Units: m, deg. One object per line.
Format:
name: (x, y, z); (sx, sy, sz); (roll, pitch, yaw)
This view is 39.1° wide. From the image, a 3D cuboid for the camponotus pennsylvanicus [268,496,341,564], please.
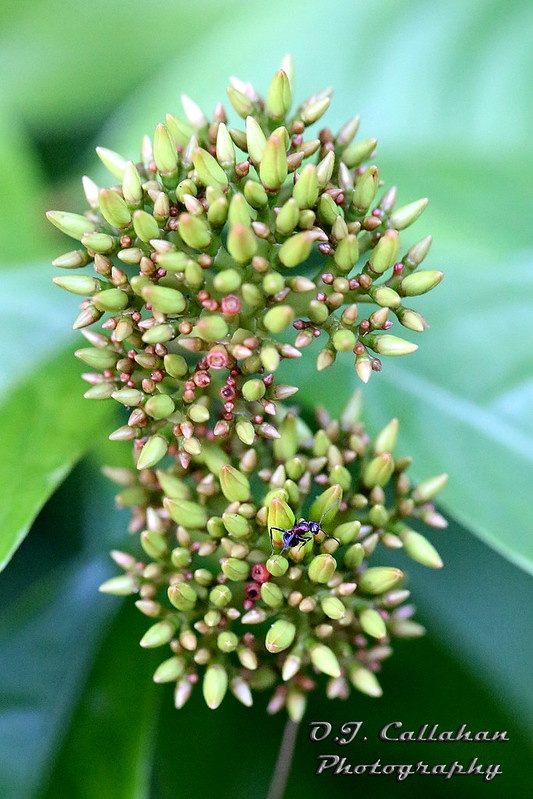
camponotus pennsylvanicus: (0.045, 0.192, 1.064); (0.065, 0.097, 0.026); (6, 101, 20)
